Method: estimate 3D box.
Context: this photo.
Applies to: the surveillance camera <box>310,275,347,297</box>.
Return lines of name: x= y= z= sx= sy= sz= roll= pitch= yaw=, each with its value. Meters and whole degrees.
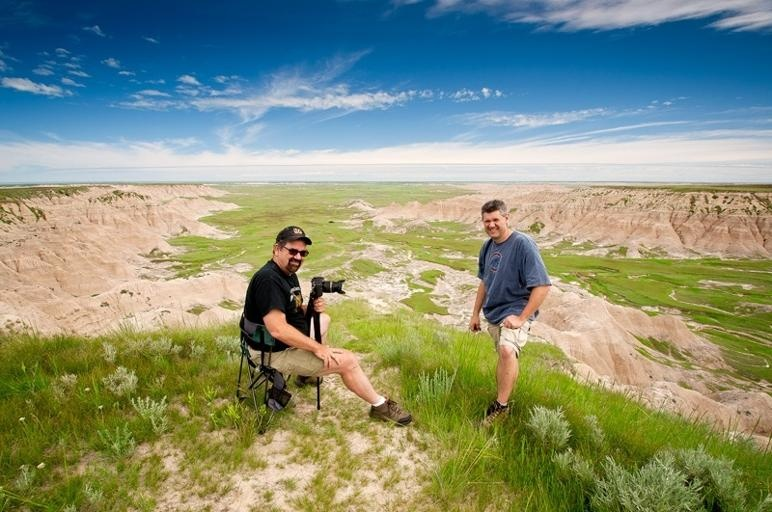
surveillance camera: x=-1.326 y=0.633 z=7.926 sx=0.615 sy=0.280 sz=0.536 roll=1 pitch=0 yaw=-2
